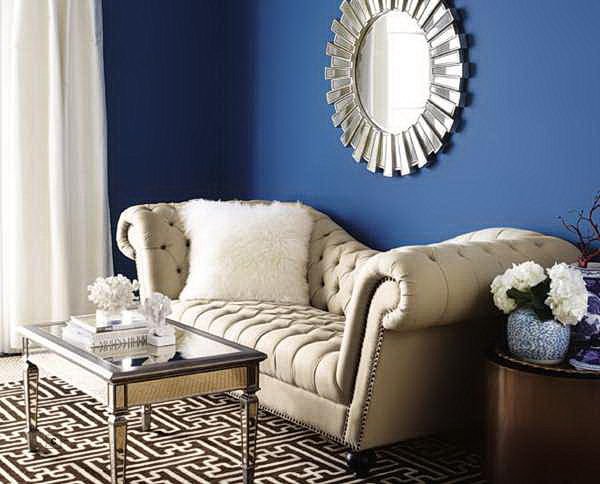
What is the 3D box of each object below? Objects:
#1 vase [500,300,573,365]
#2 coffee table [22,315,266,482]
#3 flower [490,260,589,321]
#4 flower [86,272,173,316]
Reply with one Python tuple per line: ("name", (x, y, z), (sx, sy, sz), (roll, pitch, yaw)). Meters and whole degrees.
("vase", (0.798, 0.302, 2.045), (0.185, 0.190, 0.179), (4, -3, -42))
("coffee table", (-0.627, 0.611, 2.317), (0.976, 0.537, 0.539), (12, 13, 44))
("flower", (0.810, 0.165, 2.048), (0.219, 0.244, 0.198), (4, -4, 43))
("flower", (-0.668, 0.239, 2.393), (0.300, 0.157, 0.184), (7, 34, -1))
